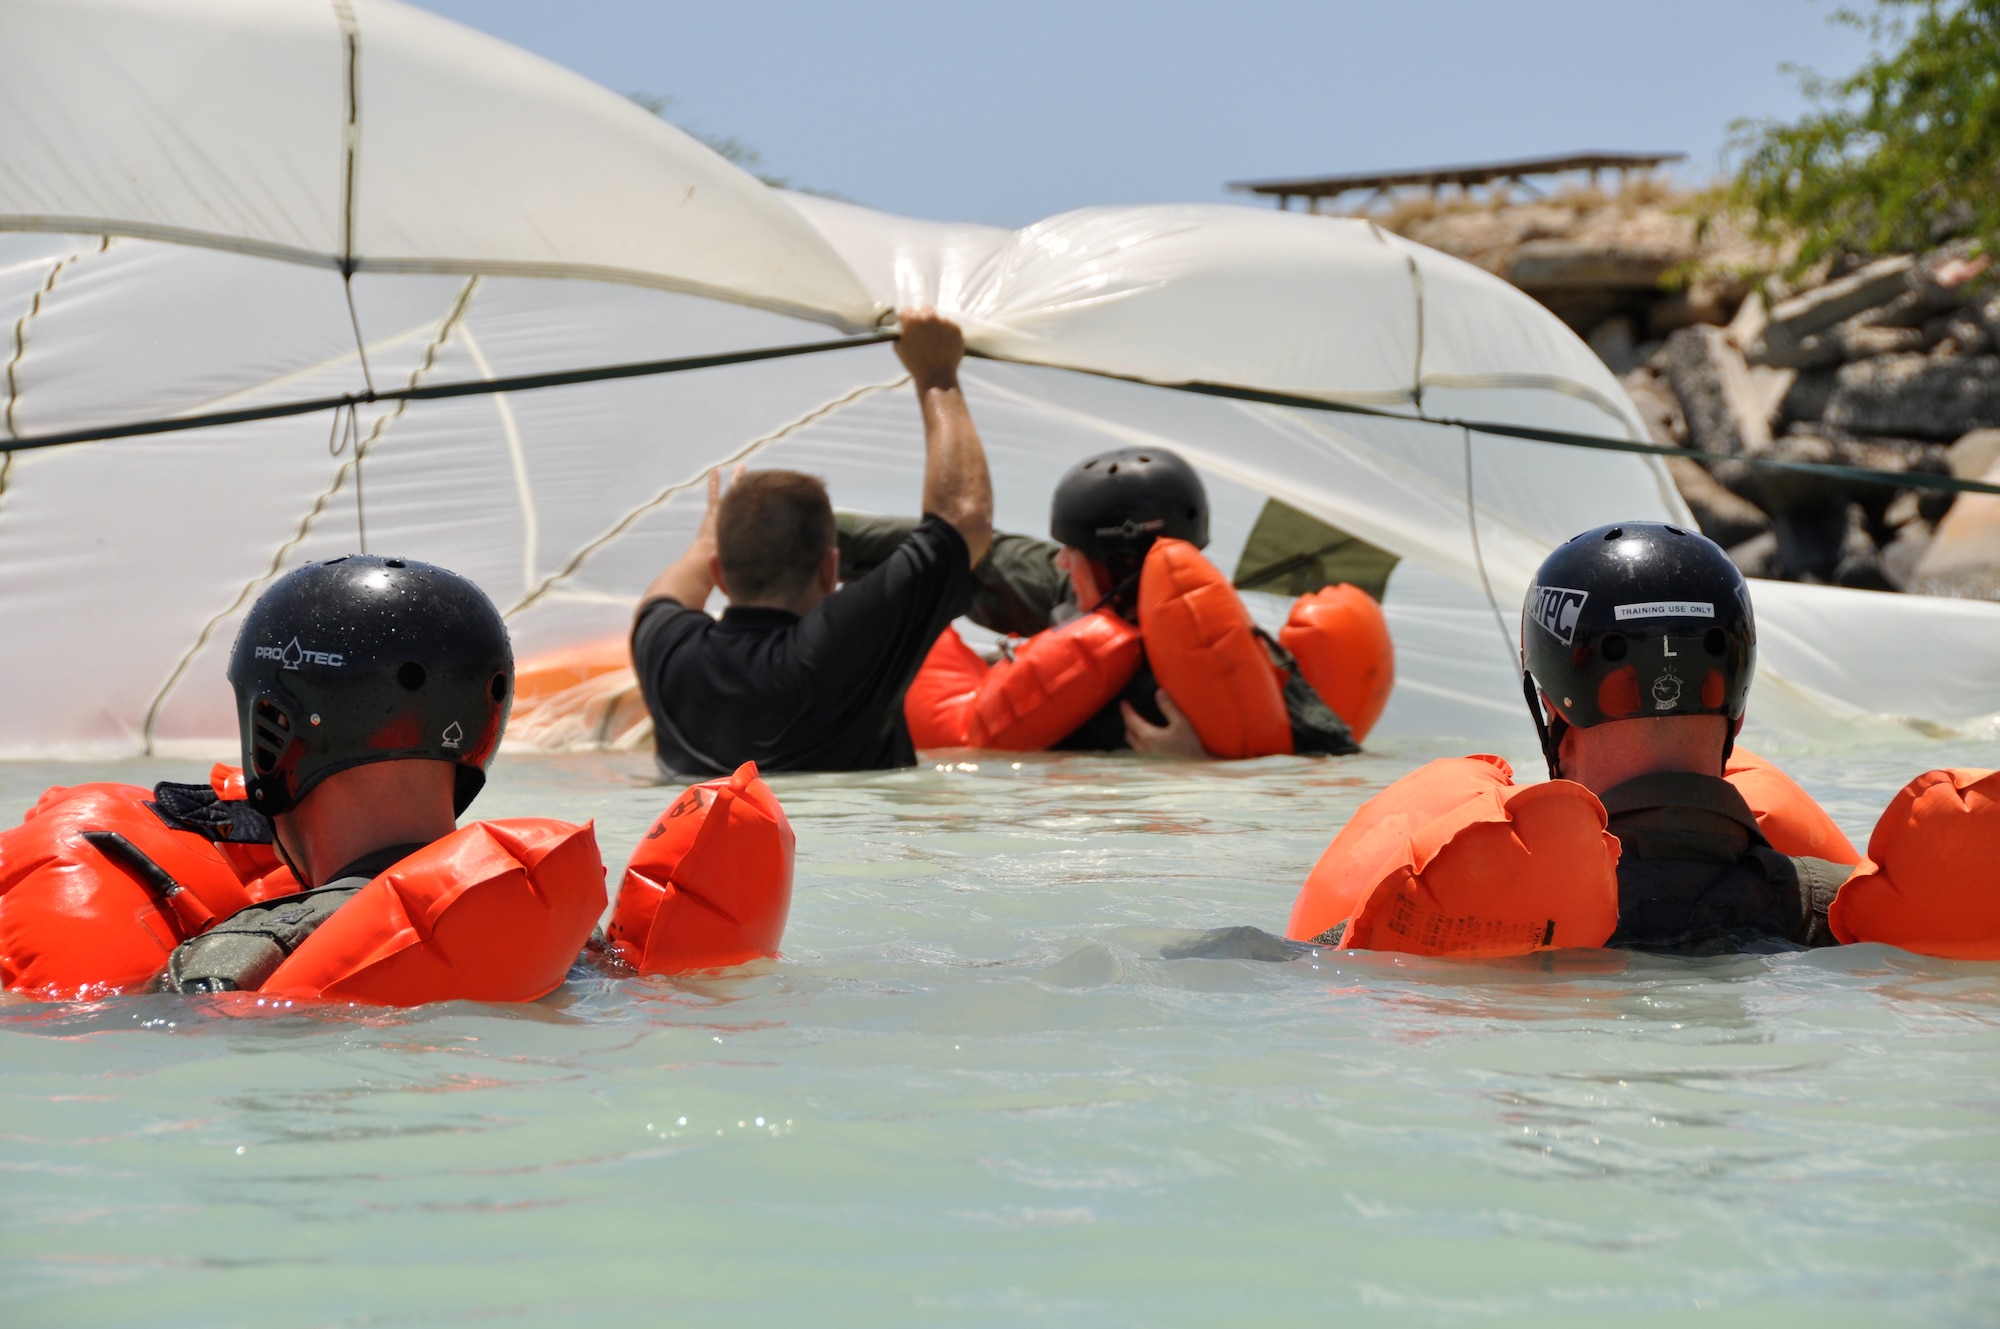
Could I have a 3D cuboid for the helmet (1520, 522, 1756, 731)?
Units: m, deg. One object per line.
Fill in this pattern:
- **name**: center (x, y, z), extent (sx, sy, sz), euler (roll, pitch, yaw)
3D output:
- **helmet**: center (1.662, -0.102, 5.712), extent (0.555, 0.516, 0.615), euler (-2, 9, 7)
